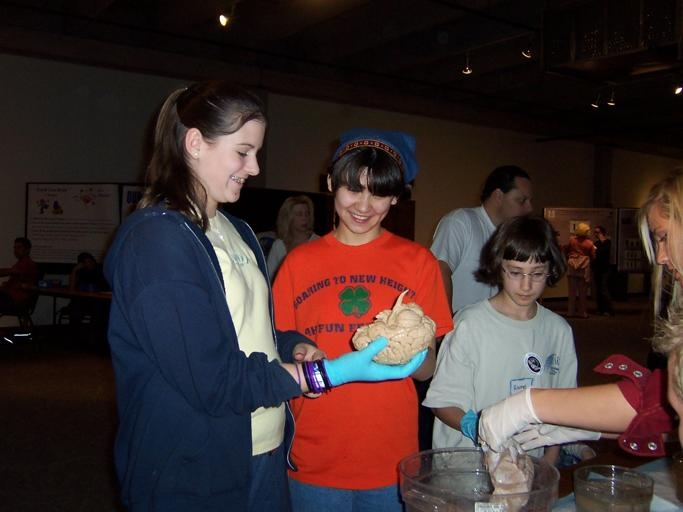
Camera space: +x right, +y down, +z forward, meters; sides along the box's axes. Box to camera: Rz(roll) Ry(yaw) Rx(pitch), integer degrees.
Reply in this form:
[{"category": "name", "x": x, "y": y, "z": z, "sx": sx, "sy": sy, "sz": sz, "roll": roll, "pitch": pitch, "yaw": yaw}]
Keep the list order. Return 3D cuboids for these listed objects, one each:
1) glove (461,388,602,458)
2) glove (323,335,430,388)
[{"category": "glove", "x": 0.640, "y": 0.492, "z": 1.720, "sx": 0.345, "sy": 0.150, "sz": 0.285, "roll": -4, "pitch": -22, "yaw": 21}, {"category": "glove", "x": 0.106, "y": 0.346, "z": 1.675, "sx": 0.264, "sy": 0.153, "sz": 0.080, "roll": -3, "pitch": -28, "yaw": -5}]
